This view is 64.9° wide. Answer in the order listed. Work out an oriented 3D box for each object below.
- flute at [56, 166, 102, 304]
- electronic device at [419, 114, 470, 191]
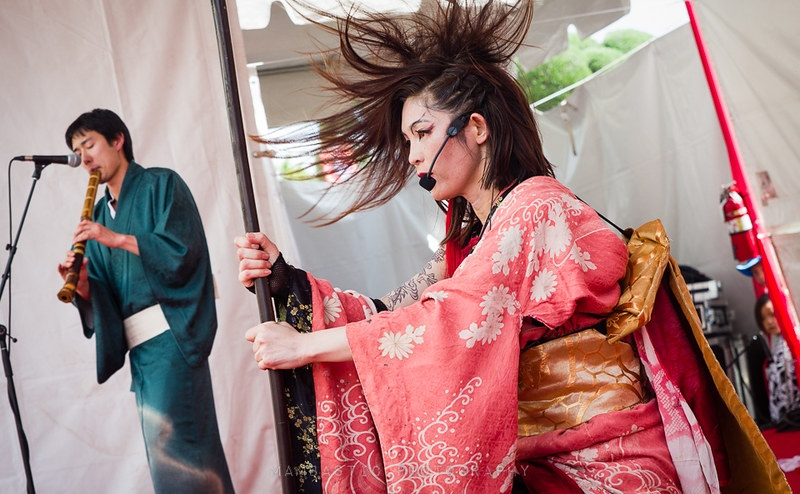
[{"bbox_3d":[-1.543,-0.066,3.119,0.108,0.691,0.120,4,-24,9],"label":"flute"},{"bbox_3d":[0.207,-0.434,2.852,0.058,0.350,0.094,32,6,-11],"label":"electronic device"}]
